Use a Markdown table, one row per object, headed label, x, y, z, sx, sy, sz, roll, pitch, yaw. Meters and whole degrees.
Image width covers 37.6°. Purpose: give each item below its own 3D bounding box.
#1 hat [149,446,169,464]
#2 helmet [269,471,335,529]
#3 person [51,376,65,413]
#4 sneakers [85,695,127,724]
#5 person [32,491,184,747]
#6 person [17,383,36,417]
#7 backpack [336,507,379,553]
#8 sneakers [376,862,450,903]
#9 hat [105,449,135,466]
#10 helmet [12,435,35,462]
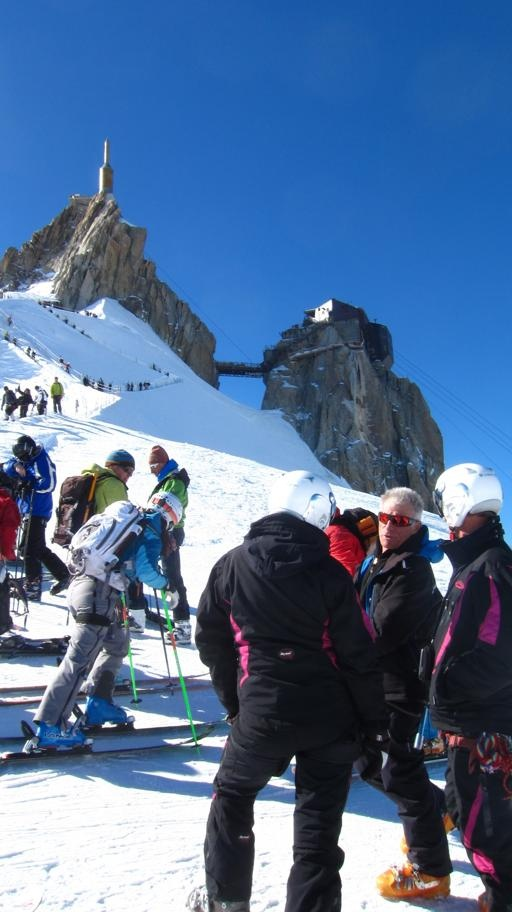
| label | x | y | z | sx | sy | sz | roll | pitch | yaw |
| --- | --- | --- | --- | --- | --- | --- | --- | --- | --- |
| hat | -0.970 | -0.025 | 7.432 | 0.139 | 0.195 | 0.173 | -1 | -14 | 3 |
| helmet | 0.214 | 0.160 | 3.279 | 0.218 | 0.263 | 0.272 | 13 | 7 | 32 |
| person | -7.077 | -2.146 | 26.492 | 0.393 | 1.213 | 1.903 | 3 | 3 | -17 |
| sneakers | -0.986 | 1.667 | 4.989 | 0.275 | 0.201 | 0.160 | -4 | -12 | -6 |
| person | -1.009 | 1.038 | 5.316 | 0.757 | 1.488 | 1.784 | 4 | 2 | -4 |
| person | -7.539 | -1.762 | 24.434 | 0.424 | 0.921 | 1.928 | 3 | 3 | -17 |
| backpack | 0.605 | 0.436 | 4.412 | 0.250 | 0.292 | 0.197 | 3 | 0 | 16 |
| sneakers | 0.698 | 1.898 | 3.393 | 0.287 | 0.142 | 0.148 | 7 | -10 | 9 |
| hat | -1.217 | 0.015 | 6.652 | 0.194 | 0.186 | 0.149 | -4 | 5 | -23 |
| helmet | -2.472 | -0.080 | 7.997 | 0.240 | 0.272 | 0.272 | 3 | 3 | -20 |
